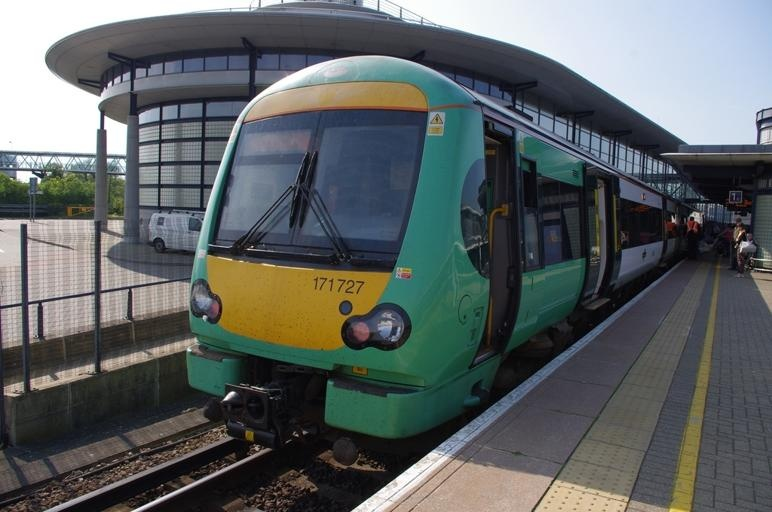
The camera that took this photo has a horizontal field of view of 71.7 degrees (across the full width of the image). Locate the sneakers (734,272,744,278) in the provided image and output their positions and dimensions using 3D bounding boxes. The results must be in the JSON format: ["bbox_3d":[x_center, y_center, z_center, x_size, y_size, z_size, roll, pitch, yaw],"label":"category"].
[{"bbox_3d":[13.351,0.700,20.220,0.348,0.277,0.125,-3,9,-43],"label":"sneakers"}]

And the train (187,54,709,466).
[{"bbox_3d":[0.624,-0.199,7.531,6.101,4.865,2.423,-4,6,-37],"label":"train"}]

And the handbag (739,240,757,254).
[{"bbox_3d":[13.916,-0.358,20.548,0.510,0.381,0.547,1,5,27],"label":"handbag"}]

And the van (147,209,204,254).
[{"bbox_3d":[-8.790,-1.006,22.313,3.000,1.522,1.778,2,6,24],"label":"van"}]
